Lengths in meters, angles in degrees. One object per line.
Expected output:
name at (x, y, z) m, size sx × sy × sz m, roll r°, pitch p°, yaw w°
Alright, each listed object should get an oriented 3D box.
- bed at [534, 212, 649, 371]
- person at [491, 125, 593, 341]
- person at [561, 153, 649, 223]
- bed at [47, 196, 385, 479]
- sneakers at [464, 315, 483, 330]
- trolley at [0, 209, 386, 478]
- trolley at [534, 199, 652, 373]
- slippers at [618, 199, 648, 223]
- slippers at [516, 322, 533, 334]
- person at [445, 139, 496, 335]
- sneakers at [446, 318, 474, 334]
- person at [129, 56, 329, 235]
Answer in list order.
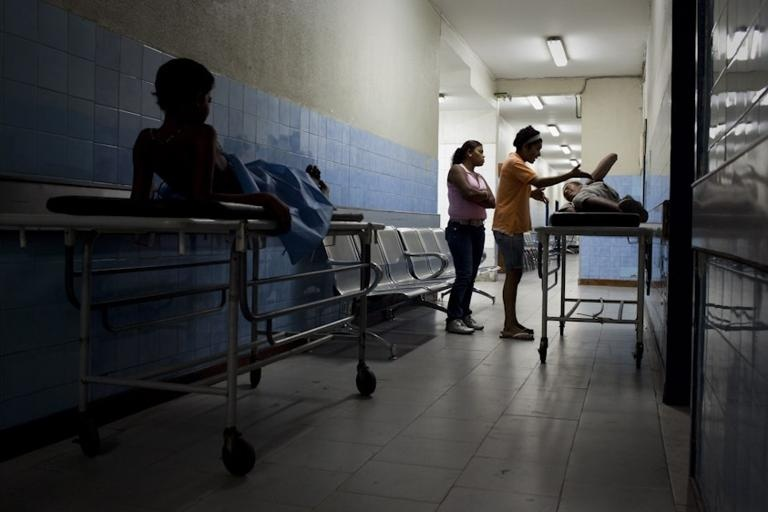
bed at (2.210, 0.351, 5.242) m, size 1.353 × 1.116 × 1.688 m, roll 2°, pitch 1°, yaw 34°
person at (1.459, -0.246, 5.054) m, size 0.877 × 2.038 × 1.100 m, roll -1°, pitch 3°, yaw -2°
person at (1.917, -0.617, 4.499) m, size 0.731 × 0.629 × 1.011 m, roll 2°, pitch 5°, yaw 25°
bed at (-0.800, 0.327, 3.104) m, size 1.055 × 1.174 × 2.017 m, roll 0°, pitch 1°, yaw 20°
sneakers at (0.895, 0.708, 5.414) m, size 0.290 × 0.114 × 0.101 m, roll -1°, pitch 3°, yaw 43°
trolley at (-0.909, 0.296, 2.756) m, size 1.171 × 1.063 × 2.278 m, roll 1°, pitch 0°, yaw 19°
trolley at (2.037, 0.273, 5.100) m, size 1.225 × 1.578 × 2.211 m, roll 0°, pitch 0°, yaw 19°
slippers at (2.191, -0.411, 4.498) m, size 0.150 × 0.219 × 0.641 m, roll 3°, pitch 5°, yaw 34°
slippers at (1.419, 0.733, 5.168) m, size 0.131 × 0.052 × 0.041 m, roll 43°, pitch 10°, yaw 33°
person at (0.848, -0.065, 5.141) m, size 0.455 × 1.699 × 0.486 m, roll -1°, pitch 5°, yaw -15°
sneakers at (0.760, 0.719, 5.197) m, size 0.314 × 0.138 × 0.118 m, roll 0°, pitch 2°, yaw 11°
person at (-0.858, -0.559, 2.788) m, size 0.887 × 0.728 × 0.954 m, roll 6°, pitch 0°, yaw 28°
